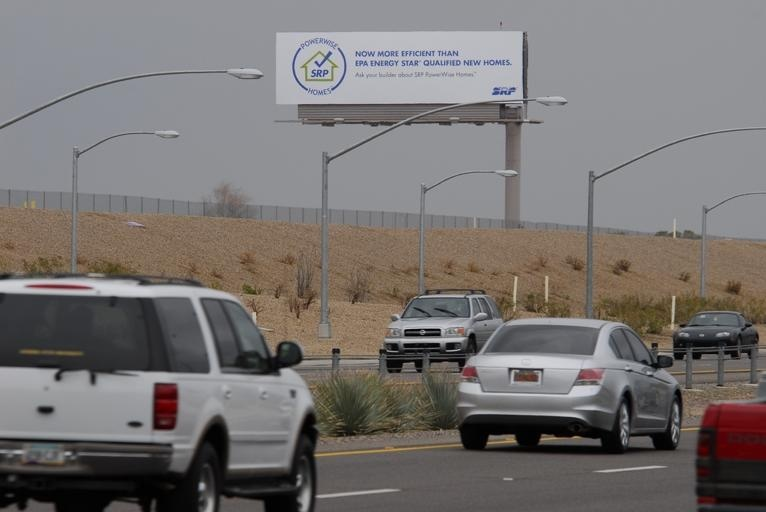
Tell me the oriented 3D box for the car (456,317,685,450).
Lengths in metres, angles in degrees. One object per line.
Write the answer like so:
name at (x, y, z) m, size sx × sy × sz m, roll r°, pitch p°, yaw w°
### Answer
car at (2.914, 2.002, 24.097) m, size 2.647 × 1.854 × 5.172 m, roll 0°, pitch -3°, yaw 23°

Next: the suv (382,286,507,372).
suv at (1.657, 1.876, 40.417) m, size 2.249 × 2.159 × 4.751 m, roll -1°, pitch -1°, yaw 20°
